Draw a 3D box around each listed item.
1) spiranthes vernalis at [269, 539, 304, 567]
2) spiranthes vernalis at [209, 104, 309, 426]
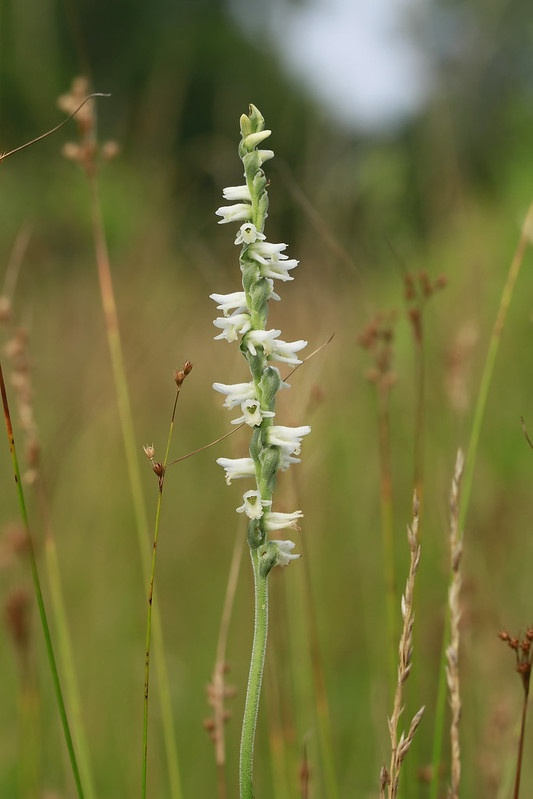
[{"bbox_3d":[0.035,0.261,1.599,0.020,0.067,0.046,6,-14,-42],"label":"spiranthes vernalis"},{"bbox_3d":[-0.024,-0.252,1.667,0.148,0.599,0.328,-6,-26,3],"label":"spiranthes vernalis"}]
